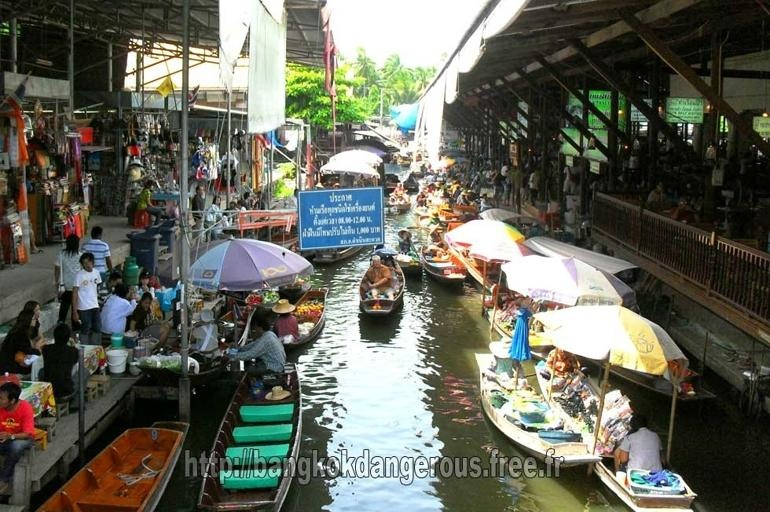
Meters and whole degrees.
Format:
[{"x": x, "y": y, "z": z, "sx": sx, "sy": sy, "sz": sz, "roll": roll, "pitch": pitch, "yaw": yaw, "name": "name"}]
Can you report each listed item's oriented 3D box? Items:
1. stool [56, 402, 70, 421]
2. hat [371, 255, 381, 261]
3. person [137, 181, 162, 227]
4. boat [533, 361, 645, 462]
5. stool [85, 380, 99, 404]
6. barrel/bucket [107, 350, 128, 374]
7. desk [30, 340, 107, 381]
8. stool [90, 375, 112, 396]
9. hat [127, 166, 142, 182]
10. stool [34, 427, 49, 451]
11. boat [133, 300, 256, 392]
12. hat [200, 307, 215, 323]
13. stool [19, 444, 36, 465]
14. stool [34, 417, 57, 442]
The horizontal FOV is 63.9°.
[{"x": -6.438, "y": 3.096, "z": 12.418, "sx": 0.271, "sy": 0.325, "sz": 0.283, "roll": 4, "pitch": 9, "yaw": 13, "name": "stool"}, {"x": -0.307, "y": 0.070, "z": 22.426, "sx": 0.252, "sy": 0.196, "sz": 0.196, "roll": -11, "pitch": 11, "yaw": -32, "name": "hat"}, {"x": -7.948, "y": -1.727, "z": 20.510, "sx": 0.803, "sy": 1.391, "sz": 1.038, "roll": -7, "pitch": 16, "yaw": -25, "name": "person"}, {"x": 4.409, "y": 3.189, "z": 13.912, "sx": 0.529, "sy": 0.927, "sz": 3.110, "roll": 41, "pitch": 8, "yaw": -10, "name": "boat"}, {"x": -6.278, "y": 2.888, "z": 13.238, "sx": 0.321, "sy": 0.332, "sz": 0.335, "roll": 2, "pitch": 13, "yaw": 0, "name": "stool"}, {"x": -6.230, "y": 2.487, "z": 14.591, "sx": 0.478, "sy": 0.450, "sz": 0.498, "roll": 1, "pitch": -1, "yaw": 0, "name": "barrel/bucket"}, {"x": -6.572, "y": 2.265, "z": 13.514, "sx": 0.914, "sy": 0.360, "sz": 0.953, "roll": 8, "pitch": 20, "yaw": 9, "name": "desk"}, {"x": -6.228, "y": 2.822, "z": 13.399, "sx": 0.372, "sy": 0.378, "sz": 0.389, "roll": 3, "pitch": 20, "yaw": 1, "name": "stool"}, {"x": -9.120, "y": -3.022, "z": 22.506, "sx": 0.434, "sy": 0.603, "sz": 0.588, "roll": -8, "pitch": 17, "yaw": -27, "name": "hat"}, {"x": -6.418, "y": 3.410, "z": 11.517, "sx": 0.292, "sy": 0.290, "sz": 0.303, "roll": 0, "pitch": 3, "yaw": -17, "name": "stool"}, {"x": -4.660, "y": 2.268, "z": 15.709, "sx": 1.032, "sy": 0.913, "sz": 3.279, "roll": 4, "pitch": 14, "yaw": 8, "name": "boat"}, {"x": -4.681, "y": 1.602, "z": 16.454, "sx": 0.388, "sy": 0.528, "sz": 0.387, "roll": -2, "pitch": 6, "yaw": -26, "name": "hat"}, {"x": -6.347, "y": 3.474, "z": 10.898, "sx": 0.254, "sy": 0.355, "sz": 0.096, "roll": -6, "pitch": 15, "yaw": -21, "name": "stool"}, {"x": -6.462, "y": 3.222, "z": 11.737, "sx": 0.322, "sy": 0.389, "sz": 0.619, "roll": 3, "pitch": 8, "yaw": -10, "name": "stool"}]
